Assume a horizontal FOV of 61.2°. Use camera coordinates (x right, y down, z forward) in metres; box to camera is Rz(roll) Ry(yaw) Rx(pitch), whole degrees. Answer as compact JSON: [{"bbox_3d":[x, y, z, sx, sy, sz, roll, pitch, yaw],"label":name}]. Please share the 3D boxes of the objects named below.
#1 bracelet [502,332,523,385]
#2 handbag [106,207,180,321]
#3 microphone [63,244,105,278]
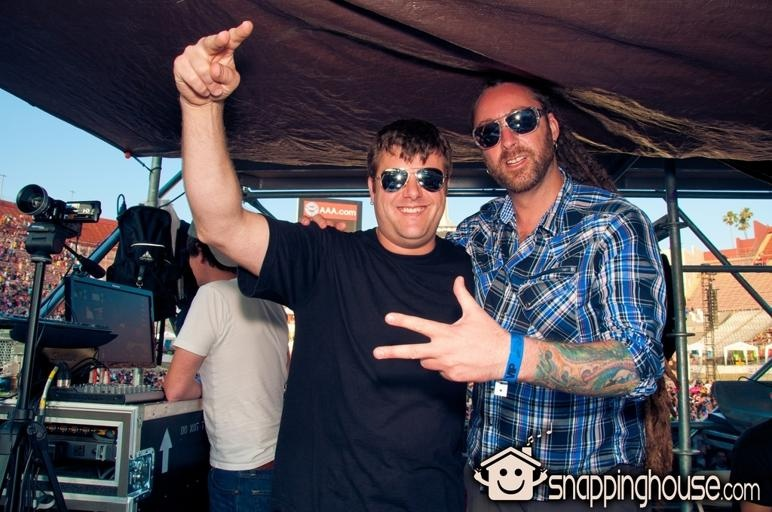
[{"bbox_3d":[0.624,0.499,3.201,0.091,0.235,0.076,5,-15,-20],"label":"bracelet"},{"bbox_3d":[-1.934,0.070,5.466,0.571,0.975,0.504,2,8,2],"label":"handbag"},{"bbox_3d":[-2.419,0.040,5.243,0.137,0.139,0.504,-24,-18,-4],"label":"microphone"}]
